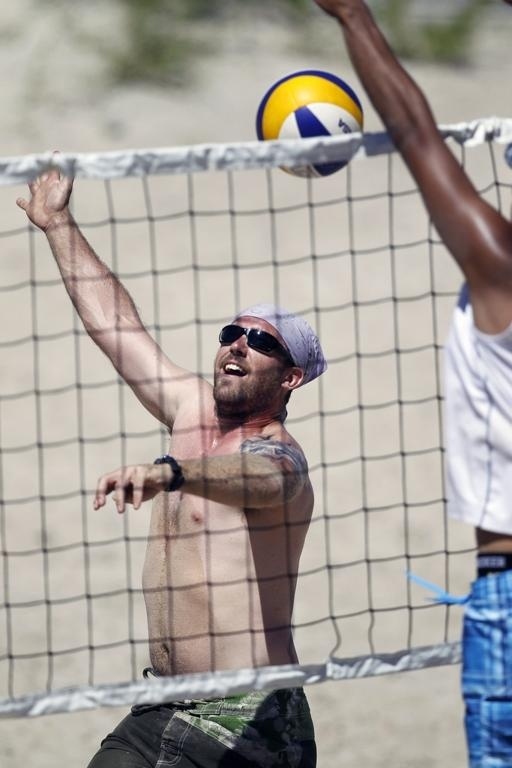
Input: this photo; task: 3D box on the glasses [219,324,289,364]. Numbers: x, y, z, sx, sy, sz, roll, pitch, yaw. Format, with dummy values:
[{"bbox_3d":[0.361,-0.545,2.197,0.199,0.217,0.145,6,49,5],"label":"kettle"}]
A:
[{"bbox_3d":[-0.002,-0.201,7.367,0.190,0.226,0.074,16,44,20],"label":"glasses"}]
